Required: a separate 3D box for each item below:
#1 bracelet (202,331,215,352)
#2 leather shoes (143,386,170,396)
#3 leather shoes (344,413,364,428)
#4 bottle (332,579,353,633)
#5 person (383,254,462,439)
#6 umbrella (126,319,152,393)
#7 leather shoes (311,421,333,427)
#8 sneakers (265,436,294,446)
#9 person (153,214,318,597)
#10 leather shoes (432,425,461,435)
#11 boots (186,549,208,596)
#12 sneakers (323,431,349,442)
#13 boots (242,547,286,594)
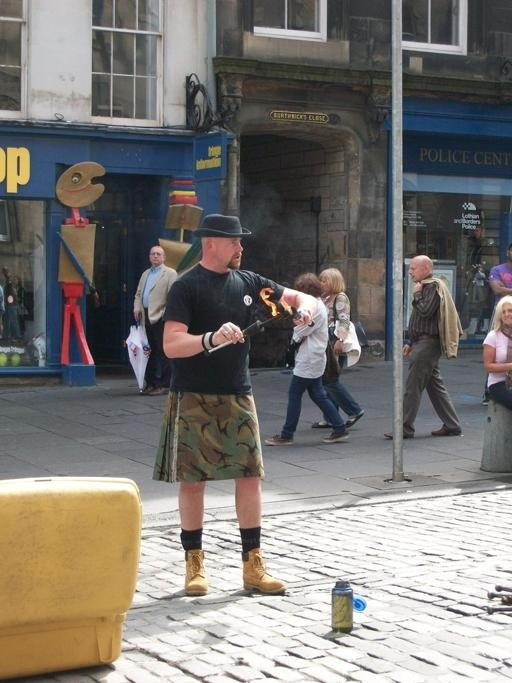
[{"bbox_3d":[-0.215,-0.002,4.699,0.061,0.054,0.078,-2,-6,-12],"label":"bracelet"},{"bbox_3d":[-1.205,0.583,12.743,0.304,0.127,0.120,-2,5,13],"label":"leather shoes"},{"bbox_3d":[0.952,0.743,10.166,0.067,0.169,0.061,42,2,-17],"label":"leather shoes"},{"bbox_3d":[0.349,1.049,4.278,0.088,0.229,0.190,2,7,4],"label":"bottle"},{"bbox_3d":[1.565,0.054,9.544,0.638,1.651,0.718,3,7,11],"label":"person"},{"bbox_3d":[-1.425,0.196,12.825,0.257,0.766,0.440,0,7,-12],"label":"umbrella"},{"bbox_3d":[0.643,0.790,10.317,0.188,0.052,0.068,1,2,-6],"label":"leather shoes"},{"bbox_3d":[0.205,0.849,9.205,0.243,0.102,0.089,3,-4,-5],"label":"sneakers"},{"bbox_3d":[-0.117,0.287,5.048,0.673,1.763,0.679,-4,9,-38],"label":"person"},{"bbox_3d":[1.765,0.784,9.762,0.292,0.128,0.098,3,6,14],"label":"leather shoes"},{"bbox_3d":[-0.289,1.066,4.994,0.097,0.167,0.293,1,4,-7],"label":"boots"},{"bbox_3d":[0.705,0.817,9.349,0.236,0.108,0.091,-8,16,2],"label":"sneakers"},{"bbox_3d":[0.035,1.063,4.939,0.252,0.195,0.104,-5,0,43],"label":"boots"}]
